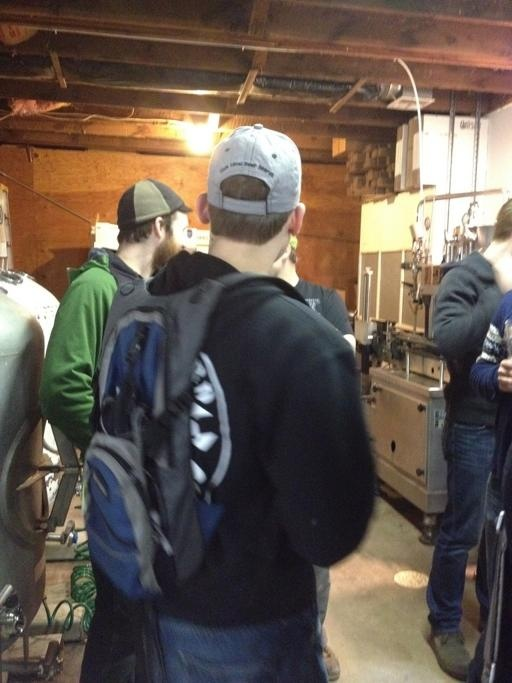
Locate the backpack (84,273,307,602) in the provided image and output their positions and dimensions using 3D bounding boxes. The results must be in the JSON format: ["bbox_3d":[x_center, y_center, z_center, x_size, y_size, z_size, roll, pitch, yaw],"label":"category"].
[{"bbox_3d":[-0.175,0.088,1.010,0.346,0.732,0.331,-2,5,-36],"label":"backpack"}]

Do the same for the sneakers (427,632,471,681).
[{"bbox_3d":[0.723,1.156,2.094,0.088,0.122,0.295,-3,0,-3],"label":"sneakers"}]

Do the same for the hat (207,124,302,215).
[{"bbox_3d":[0.000,-0.251,0.832,0.091,0.090,0.170,4,40,2],"label":"hat"}]

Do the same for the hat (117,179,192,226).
[{"bbox_3d":[-0.341,-0.479,1.816,0.208,0.132,0.157,-25,38,-34],"label":"hat"}]
